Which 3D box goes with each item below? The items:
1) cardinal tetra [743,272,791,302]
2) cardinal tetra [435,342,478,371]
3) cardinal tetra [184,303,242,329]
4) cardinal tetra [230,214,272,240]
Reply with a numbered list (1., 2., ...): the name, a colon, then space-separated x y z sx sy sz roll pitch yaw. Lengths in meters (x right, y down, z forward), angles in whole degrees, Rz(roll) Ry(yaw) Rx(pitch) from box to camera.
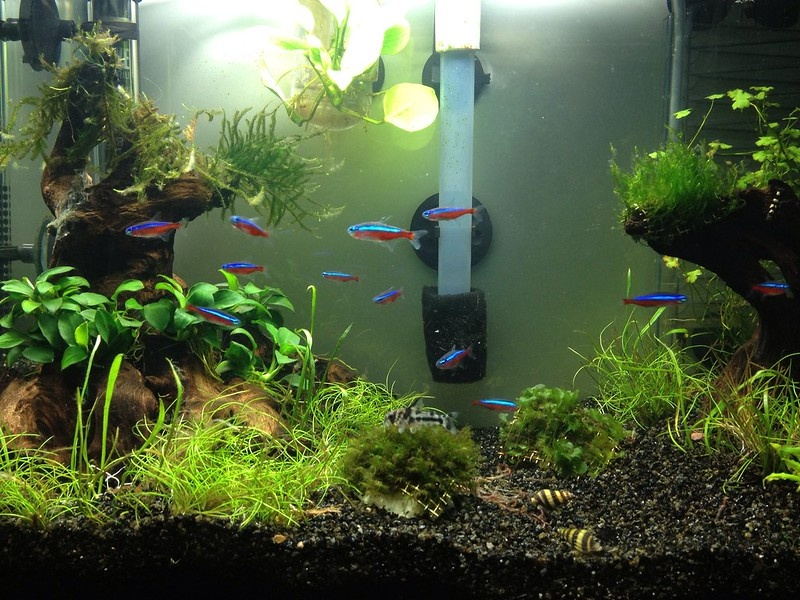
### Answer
1. cardinal tetra: 1.979 -0.058 4.237 0.252 0.171 0.086 -1 -17 22
2. cardinal tetra: 0.338 0.337 4.769 0.201 0.105 0.035 -32 54 -25
3. cardinal tetra: -1.077 0.091 4.432 0.241 0.101 0.044 13 54 12
4. cardinal tetra: -0.918 -0.445 4.815 0.259 0.035 0.119 17 31 -47
